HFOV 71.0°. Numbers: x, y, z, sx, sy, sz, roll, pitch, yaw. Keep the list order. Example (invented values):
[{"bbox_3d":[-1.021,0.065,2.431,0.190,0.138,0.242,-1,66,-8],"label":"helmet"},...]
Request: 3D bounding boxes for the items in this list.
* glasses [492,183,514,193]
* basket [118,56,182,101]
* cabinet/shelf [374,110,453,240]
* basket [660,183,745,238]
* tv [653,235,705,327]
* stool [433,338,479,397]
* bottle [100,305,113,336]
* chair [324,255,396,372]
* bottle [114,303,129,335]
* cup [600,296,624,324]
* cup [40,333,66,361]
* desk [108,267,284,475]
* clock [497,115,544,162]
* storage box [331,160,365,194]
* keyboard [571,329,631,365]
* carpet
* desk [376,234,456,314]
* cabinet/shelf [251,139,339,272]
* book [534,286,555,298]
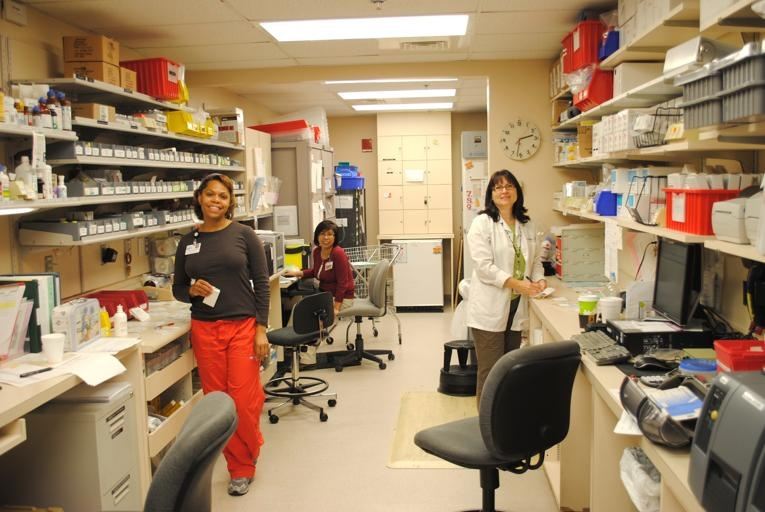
[{"bbox_3d":[0.866,-0.487,3.877,0.141,0.070,0.058,0,12,7],"label":"glasses"},{"bbox_3d":[-1.737,-1.328,4.094,0.303,0.259,0.430,1,8,8],"label":"basket"},{"bbox_3d":[0.484,-1.248,8.200,1.094,1.828,0.405,-1,13,2],"label":"cabinet/shelf"},{"bbox_3d":[1.614,-0.238,2.800,0.155,0.235,0.383,-4,12,-12],"label":"basket"},{"bbox_3d":[1.648,0.152,2.985,0.167,0.404,0.458,10,12,9],"label":"tv"},{"bbox_3d":[0.735,1.024,5.036,0.490,0.423,0.470,0,4,15],"label":"stool"},{"bbox_3d":[-1.715,0.414,3.331,0.047,0.162,0.125,-6,13,-21],"label":"bottle"},{"bbox_3d":[-0.157,0.651,5.673,1.066,1.347,1.028,0,4,-8],"label":"chair"},{"bbox_3d":[-1.654,0.413,3.378,0.081,0.174,0.213,-8,14,-28],"label":"bottle"},{"bbox_3d":[1.398,0.335,3.321,0.167,0.156,0.159,0,1,0],"label":"cup"},{"bbox_3d":[-1.742,0.484,2.917,0.148,0.142,0.140,1,7,0],"label":"cup"},{"bbox_3d":[-1.341,0.432,3.811,1.048,1.245,1.901,-1,8,-1],"label":"desk"},{"bbox_3d":[1.396,-1.209,5.455,0.495,0.461,0.071,0,2,3],"label":"clock"},{"bbox_3d":[-0.504,-1.180,8.020,0.488,0.418,0.458,0,5,1],"label":"storage box"},{"bbox_3d":[1.191,0.500,2.913,0.149,0.048,0.245,-6,14,-3],"label":"keyboard"},{"bbox_3d":[0.476,1.068,3.209,0.876,0.047,0.925,1,7,1],"label":"carpet"},{"bbox_3d":[0.640,0.277,8.323,1.415,1.255,1.076,1,1,-33],"label":"desk"},{"bbox_3d":[-1.001,-0.545,5.907,0.582,1.533,1.672,1,3,11],"label":"cabinet/shelf"},{"bbox_3d":[1.319,0.307,4.333,0.159,0.051,0.155,-7,15,34],"label":"book"}]
